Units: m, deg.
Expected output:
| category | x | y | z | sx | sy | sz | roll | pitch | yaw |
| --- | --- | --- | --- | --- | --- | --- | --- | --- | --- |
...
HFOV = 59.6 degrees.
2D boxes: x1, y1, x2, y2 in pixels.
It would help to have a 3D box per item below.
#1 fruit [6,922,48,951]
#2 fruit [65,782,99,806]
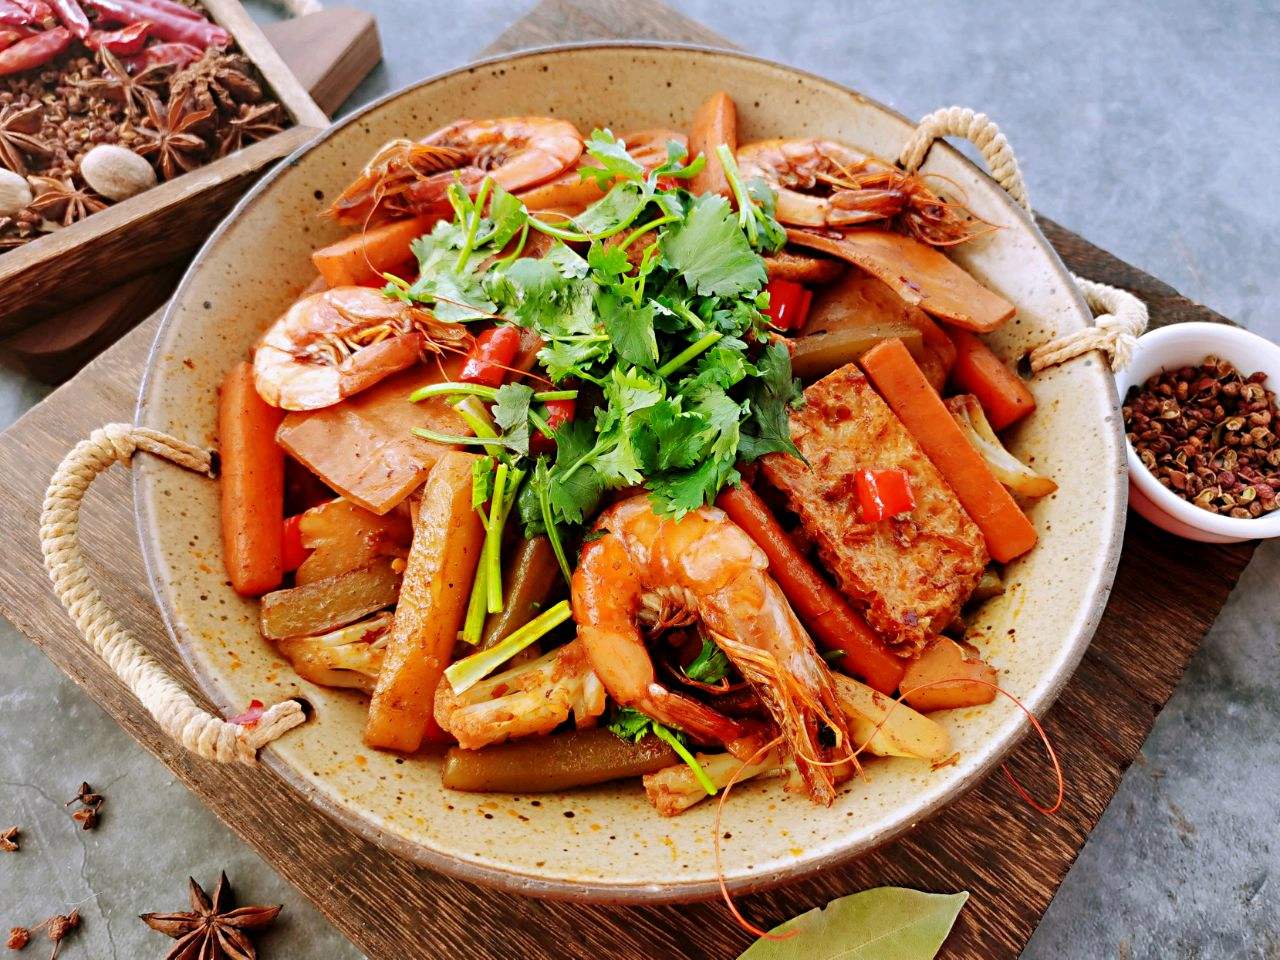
| category | x | y | z | sx | sy | sz | roll | pitch | yaw |
| --- | --- | --- | --- | --- | --- | --- | --- | --- | --- |
| fruit | -2.656 | 1.952 | 4.785 | 0.171 | 0.088 | 0.074 | -20 | 109 | -34 |
| fruit | -2.483 | 1.403 | 4.957 | 0.129 | 0.060 | 0.098 | -28 | 77 | -29 |
